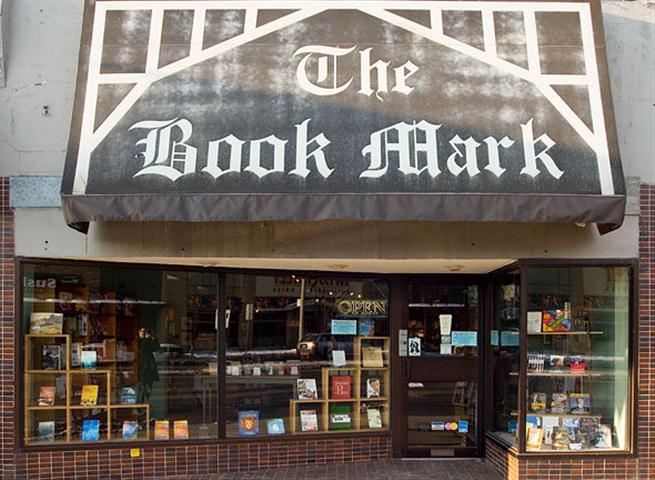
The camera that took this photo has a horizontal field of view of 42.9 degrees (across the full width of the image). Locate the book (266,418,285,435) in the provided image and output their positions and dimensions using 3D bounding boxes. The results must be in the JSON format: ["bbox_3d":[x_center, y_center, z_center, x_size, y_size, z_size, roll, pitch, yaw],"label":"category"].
[{"bbox_3d":[-0.848,3.055,13.734,0.262,0.263,0.062,4,-14,-17],"label":"book"}]

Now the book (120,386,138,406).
[{"bbox_3d":[-3.169,2.463,13.412,0.312,0.336,0.231,1,-1,-7],"label":"book"}]

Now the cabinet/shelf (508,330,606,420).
[{"bbox_3d":[3.653,2.156,13.167,1.301,1.335,0.453,0,0,0],"label":"cabinet/shelf"}]

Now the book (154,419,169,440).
[{"bbox_3d":[-2.674,3.031,13.340,0.296,0.391,0.037,1,-11,-6],"label":"book"}]

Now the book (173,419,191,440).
[{"bbox_3d":[-2.351,3.041,13.384,0.265,0.297,0.069,2,-7,-3],"label":"book"}]

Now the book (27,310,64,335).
[{"bbox_3d":[-4.442,1.281,13.027,0.361,0.281,0.050,1,-2,-13],"label":"book"}]

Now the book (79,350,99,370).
[{"bbox_3d":[-3.808,1.902,13.244,0.283,0.356,0.032,2,-16,-20],"label":"book"}]

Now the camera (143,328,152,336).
[{"bbox_3d":[-2.922,1.489,13.438,0.087,0.136,0.050,5,7,-6],"label":"camera"}]

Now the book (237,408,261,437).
[{"bbox_3d":[-1.292,2.972,13.639,0.325,0.397,0.044,0,-9,-8],"label":"book"}]

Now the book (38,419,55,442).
[{"bbox_3d":[-4.402,2.968,13.016,0.254,0.307,0.048,0,-9,-10],"label":"book"}]

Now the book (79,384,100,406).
[{"bbox_3d":[-3.792,2.450,13.205,0.305,0.395,0.039,2,-17,-12],"label":"book"}]

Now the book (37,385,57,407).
[{"bbox_3d":[-4.410,2.435,13.043,0.297,0.382,0.052,2,-11,-12],"label":"book"}]
